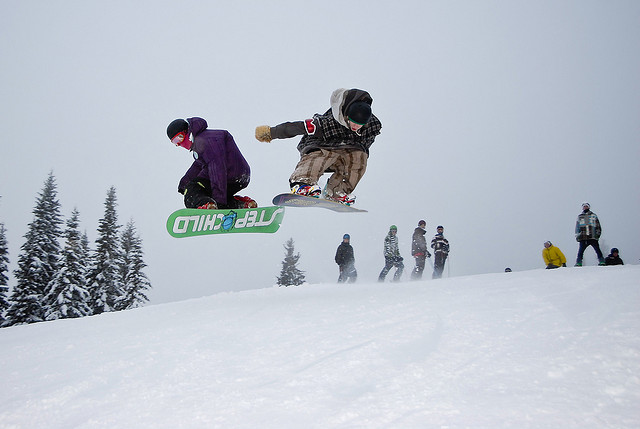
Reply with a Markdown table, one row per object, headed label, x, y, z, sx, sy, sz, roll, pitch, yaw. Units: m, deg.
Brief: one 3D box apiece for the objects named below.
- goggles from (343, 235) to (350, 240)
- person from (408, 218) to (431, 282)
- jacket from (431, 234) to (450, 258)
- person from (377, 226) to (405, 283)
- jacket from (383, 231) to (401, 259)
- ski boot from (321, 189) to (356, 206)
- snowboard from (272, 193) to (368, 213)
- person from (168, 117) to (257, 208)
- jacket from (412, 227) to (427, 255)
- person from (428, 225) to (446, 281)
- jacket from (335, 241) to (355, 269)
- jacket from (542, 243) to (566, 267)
| label | x | y | z | sx | sy | sz | roll | pitch | yaw |
| --- | --- | --- | --- | --- | --- | --- | --- | --- | --- |
| goggles | 0.654 | 0.535 | 13.825 | 0.162 | 0.078 | 0.234 | 0 | 0 | 6 |
| person | 2.296 | 0.844 | 13.170 | 0.500 | 1.505 | 1.501 | -4 | 0 | 10 |
| jacket | 2.909 | 0.739 | 13.586 | 0.328 | 0.532 | 0.396 | -4 | 0 | -12 |
| person | 1.712 | 0.975 | 13.762 | 0.591 | 1.374 | 0.987 | -4 | 0 | 2 |
| jacket | 1.724 | 0.732 | 13.630 | 0.345 | 0.668 | 0.595 | -4 | 0 | 7 |
| ski boot | 0.326 | -0.335 | 9.781 | 0.455 | 0.176 | 0.282 | 5 | 25 | 0 |
| snowboard | -0.184 | -0.215 | 9.576 | 1.273 | 0.315 | 0.662 | -5 | 1 | -41 |
| person | -1.870 | -0.865 | 9.687 | 1.339 | 1.471 | 1.140 | -4 | 0 | -10 |
| jacket | 2.406 | 0.626 | 13.638 | 0.297 | 0.668 | 0.354 | -4 | 0 | -27 |
| person | 2.846 | 0.871 | 13.550 | 0.381 | 1.309 | 0.896 | -4 | 0 | 12 |
| jacket | 0.594 | 0.981 | 13.682 | 0.407 | 0.647 | 0.279 | -4 | 0 | 2 |
| jacket | 5.846 | 1.026 | 14.154 | 0.273 | 0.589 | 0.638 | -4 | 0 | -28 |
